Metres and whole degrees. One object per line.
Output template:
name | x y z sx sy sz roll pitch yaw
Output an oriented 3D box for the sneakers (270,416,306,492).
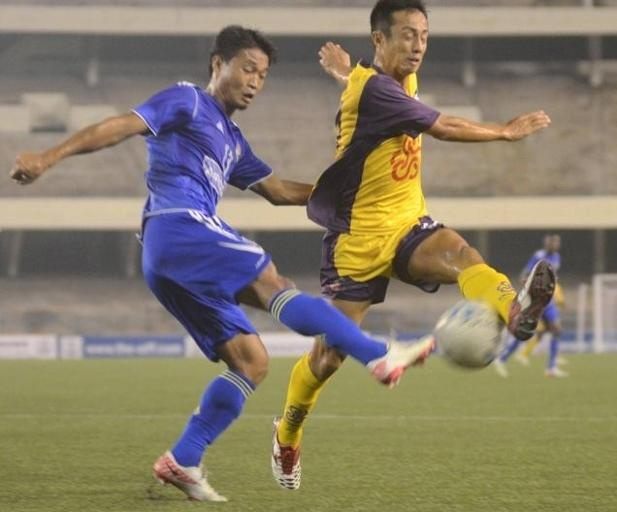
sneakers | -0.233 2.034 15.000 0.258 0.637 0.289 -3 -9 -13
